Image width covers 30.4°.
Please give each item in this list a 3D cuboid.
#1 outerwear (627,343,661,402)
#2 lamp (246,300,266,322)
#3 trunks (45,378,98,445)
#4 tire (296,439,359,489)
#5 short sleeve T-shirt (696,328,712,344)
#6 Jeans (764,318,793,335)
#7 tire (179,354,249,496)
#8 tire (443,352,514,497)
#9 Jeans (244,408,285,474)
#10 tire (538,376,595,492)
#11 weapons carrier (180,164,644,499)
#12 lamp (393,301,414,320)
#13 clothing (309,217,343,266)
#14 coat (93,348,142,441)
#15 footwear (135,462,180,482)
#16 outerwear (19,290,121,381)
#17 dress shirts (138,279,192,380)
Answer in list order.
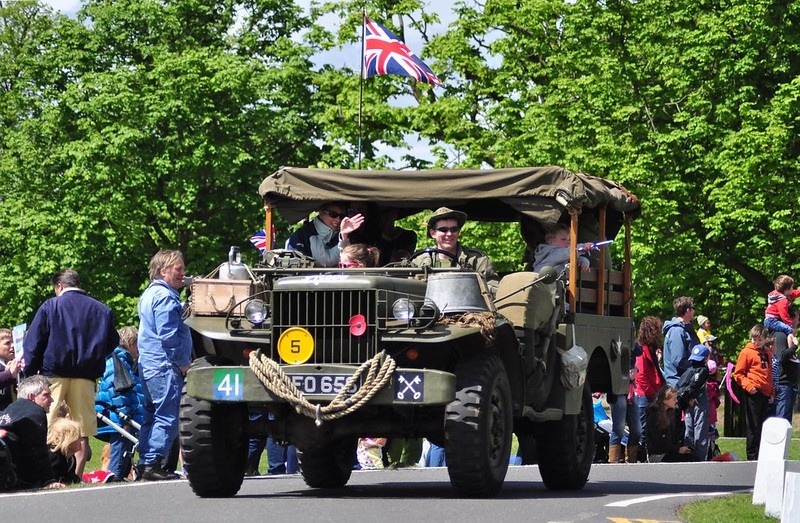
[{"bbox_3d":[4.885,2.090,29.564,0.626,1.123,0.956,3,7,16],"label":"outerwear"},{"bbox_3d":[-2.160,0.730,22.065,0.276,0.313,0.122,-10,-3,1],"label":"lamp"},{"bbox_3d":[-5.496,2.460,24.474,1.079,1.108,0.424,3,-20,-14],"label":"trunks"},{"bbox_3d":[-1.183,3.318,24.224,0.782,0.717,1.023,-6,-19,14],"label":"tire"},{"bbox_3d":[6.830,1.594,33.248,0.255,0.251,0.692,-11,1,11],"label":"short sleeve T-shirt"},{"bbox_3d":[8.027,1.347,31.171,0.464,0.201,0.341,3,-2,-5],"label":"Jeans"},{"bbox_3d":[-2.781,2.456,22.204,0.537,1.493,1.668,-4,29,11],"label":"tire"},{"bbox_3d":[1.166,2.431,21.895,1.140,2.136,0.560,5,-10,-40],"label":"tire"},{"bbox_3d":[-2.629,3.425,26.819,0.403,1.351,0.643,-13,-38,-11],"label":"Jeans"},{"bbox_3d":[2.633,2.760,23.670,0.564,1.564,1.594,-4,-16,25],"label":"tire"},{"bbox_3d":[0.183,0.956,23.468,7.242,5.522,3.817,0,-8,-7],"label":"weapons carrier"},{"bbox_3d":[0.048,0.702,21.718,0.286,0.284,0.174,-15,3,12],"label":"lamp"},{"bbox_3d":[-1.236,-0.342,24.989,0.645,0.812,0.455,11,-28,-31],"label":"clothing"},{"bbox_3d":[-4.929,2.326,25.581,0.942,1.621,1.685,-1,-1,-4],"label":"coat"},{"bbox_3d":[-3.923,3.446,24.149,0.769,0.323,0.257,0,2,-30],"label":"footwear"},{"bbox_3d":[-5.609,1.258,25.250,1.647,1.507,1.136,1,-1,-20],"label":"outerwear"},{"bbox_3d":[-3.896,1.109,24.528,0.948,1.655,1.430,-1,3,-26],"label":"dress shirts"}]
